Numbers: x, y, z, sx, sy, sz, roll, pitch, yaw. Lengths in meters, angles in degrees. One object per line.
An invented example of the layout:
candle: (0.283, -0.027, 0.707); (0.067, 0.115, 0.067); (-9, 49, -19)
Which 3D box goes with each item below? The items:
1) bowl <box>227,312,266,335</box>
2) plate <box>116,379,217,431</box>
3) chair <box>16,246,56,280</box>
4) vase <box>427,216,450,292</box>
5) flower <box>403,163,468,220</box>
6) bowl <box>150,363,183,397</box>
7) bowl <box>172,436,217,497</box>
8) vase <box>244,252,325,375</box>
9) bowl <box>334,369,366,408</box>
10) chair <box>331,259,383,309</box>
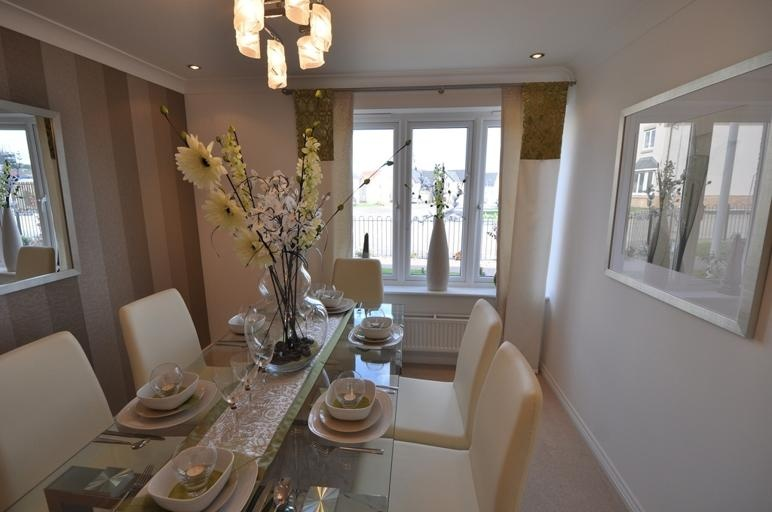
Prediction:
bowl: (-0.852, 0.420, 3.045); (0.192, 0.087, 0.199); (1, 2, 0)
plate: (-1.198, 0.834, 2.719); (0.269, 0.050, 0.287); (-1, 15, -4)
chair: (-2.434, 0.049, 3.432); (0.205, 0.343, 0.114); (-2, 7, -43)
vase: (0.492, -0.018, 4.759); (0.214, 0.725, 0.152); (3, 12, 10)
flower: (0.504, -0.639, 4.967); (0.514, 0.506, 0.562); (0, 6, 24)
bowl: (-1.226, 0.697, 2.819); (0.148, 0.167, 0.163); (0, 12, -9)
bowl: (-0.926, 1.033, 2.439); (0.192, 0.167, 0.192); (2, 8, 0)
vase: (-0.584, 0.352, 3.086); (0.604, 0.844, 0.599); (0, 1, -5)
bowl: (-0.200, 0.765, 2.837); (0.145, 0.179, 0.151); (1, -8, 0)
chair: (-0.229, 0.228, 4.277); (0.351, 0.543, 0.424); (0, 10, 1)
